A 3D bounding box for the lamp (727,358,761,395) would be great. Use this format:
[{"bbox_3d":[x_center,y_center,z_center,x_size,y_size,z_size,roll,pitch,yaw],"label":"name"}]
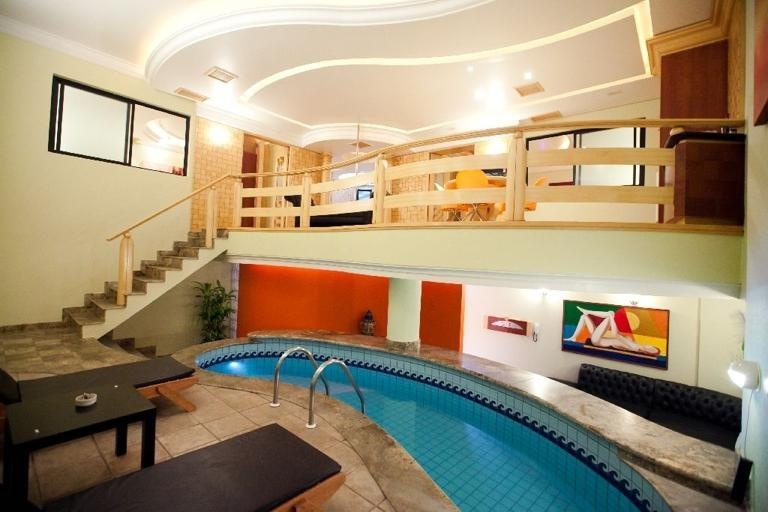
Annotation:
[{"bbox_3d":[4.053,1.319,5.393,0.290,0.304,0.351,7,6,12],"label":"lamp"}]
